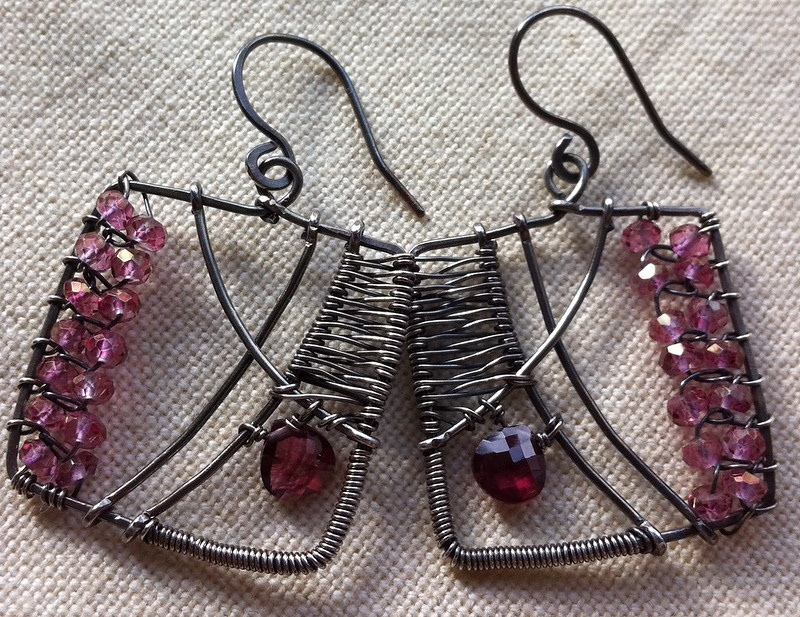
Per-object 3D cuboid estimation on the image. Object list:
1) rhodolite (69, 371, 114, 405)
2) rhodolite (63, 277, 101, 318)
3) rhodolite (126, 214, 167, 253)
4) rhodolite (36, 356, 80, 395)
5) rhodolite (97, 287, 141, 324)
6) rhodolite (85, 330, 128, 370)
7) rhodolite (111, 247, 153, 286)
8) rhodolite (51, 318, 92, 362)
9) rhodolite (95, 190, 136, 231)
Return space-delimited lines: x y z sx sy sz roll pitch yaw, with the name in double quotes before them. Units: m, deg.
"rhodolite" -0.535 0.138 1.899 0.063 0.034 0.058 5 58 -24
"rhodolite" -0.561 -0.021 1.915 0.053 0.025 0.064 -35 102 -46
"rhodolite" -0.451 -0.137 1.935 0.064 0.063 0.044 30 69 11
"rhodolite" -0.598 0.114 1.898 0.066 0.067 0.047 11 51 -6
"rhodolite" -0.496 -0.008 1.919 0.067 0.065 0.063 6 61 -8
"rhodolite" -0.524 0.067 1.933 0.071 0.068 0.065 2 102 -13
"rhodolite" -0.476 -0.077 1.929 0.067 0.066 0.062 26 92 -6
"rhodolite" -0.586 0.045 1.936 0.071 0.041 0.062 -2 78 -19
"rhodolite" -0.498 -0.171 1.938 0.055 0.045 0.070 -36 97 -7
